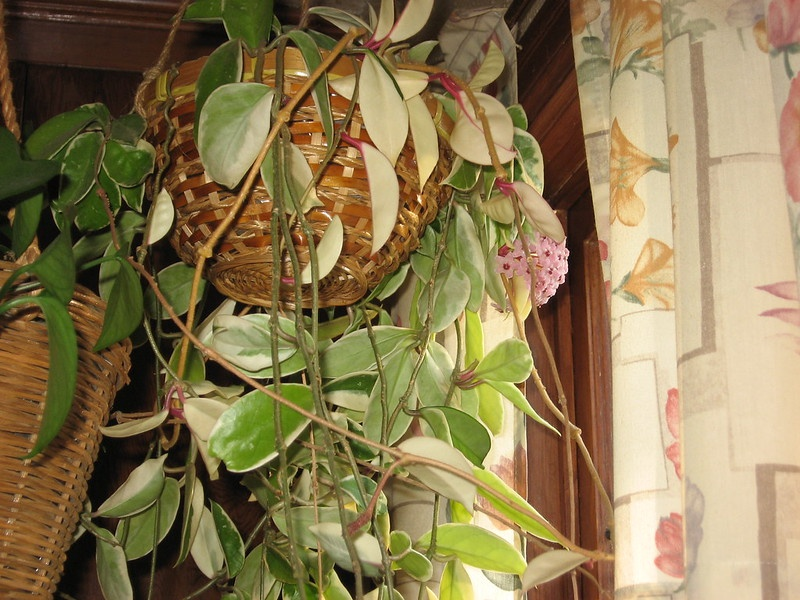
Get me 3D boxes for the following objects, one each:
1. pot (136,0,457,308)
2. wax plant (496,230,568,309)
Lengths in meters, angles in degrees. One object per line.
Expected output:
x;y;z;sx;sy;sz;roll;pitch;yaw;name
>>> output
-0.153;-0.107;1.064;0.279;0.185;0.301;9;-25;4;pot
0.200;-0.049;1.350;0.110;0.107;0.066;-11;22;29;wax plant
